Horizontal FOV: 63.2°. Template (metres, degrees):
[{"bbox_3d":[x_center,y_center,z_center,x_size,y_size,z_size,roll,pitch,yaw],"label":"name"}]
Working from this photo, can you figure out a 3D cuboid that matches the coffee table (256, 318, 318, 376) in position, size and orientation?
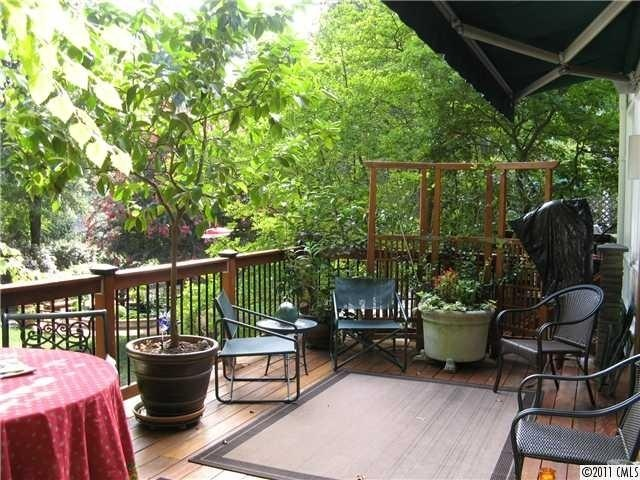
[{"bbox_3d":[-0.376,1.066,5.396,0.701,0.554,0.732,-14,-13,33],"label":"coffee table"}]

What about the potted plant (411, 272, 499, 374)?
[{"bbox_3d":[1.532,0.893,5.898,0.839,0.957,0.866,1,0,23],"label":"potted plant"}]

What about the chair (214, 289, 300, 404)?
[{"bbox_3d":[-0.634,0.943,5.010,0.936,1.247,0.913,0,7,0],"label":"chair"}]

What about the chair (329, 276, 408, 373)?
[{"bbox_3d":[0.537,0.893,5.780,0.789,0.967,0.828,0,-1,-7],"label":"chair"}]

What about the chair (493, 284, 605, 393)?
[{"bbox_3d":[2.092,0.918,4.757,0.796,1.012,0.759,0,2,-26],"label":"chair"}]
